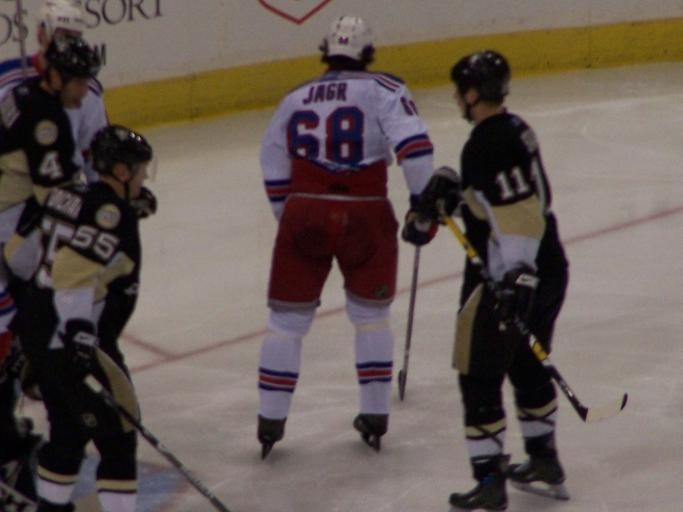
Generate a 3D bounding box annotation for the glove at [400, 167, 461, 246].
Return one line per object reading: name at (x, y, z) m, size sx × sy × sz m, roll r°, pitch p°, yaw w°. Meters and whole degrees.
glove at (0.411, -0.222, 4.985) m, size 0.213 × 0.362 × 0.129 m, roll 32°, pitch 19°, yaw 10°

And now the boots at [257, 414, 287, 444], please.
boots at (-0.331, 0.804, 5.181) m, size 0.124 × 0.104 × 0.119 m, roll 2°, pitch 2°, yaw -3°

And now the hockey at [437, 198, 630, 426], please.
hockey at (0.783, 0.300, 4.744) m, size 0.444 × 1.216 × 0.071 m, roll -33°, pitch 13°, yaw -3°

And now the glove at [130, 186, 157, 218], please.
glove at (-0.852, -0.231, 4.813) m, size 0.098 × 0.129 × 0.049 m, roll 4°, pitch -17°, yaw -7°

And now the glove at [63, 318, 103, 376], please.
glove at (-1.045, 0.365, 4.443) m, size 0.127 × 0.225 × 0.124 m, roll 16°, pitch 34°, yaw 28°

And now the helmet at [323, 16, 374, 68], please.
helmet at (0.041, -1.006, 5.136) m, size 0.184 × 0.249 × 0.131 m, roll 4°, pitch -20°, yaw 4°

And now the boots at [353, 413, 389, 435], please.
boots at (0.130, 0.775, 5.143) m, size 0.115 × 0.086 × 0.090 m, roll -1°, pitch -1°, yaw 1°

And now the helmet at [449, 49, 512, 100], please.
helmet at (0.595, -0.782, 4.731) m, size 0.237 × 0.211 × 0.180 m, roll 11°, pitch 22°, yaw 33°

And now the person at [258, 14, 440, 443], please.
person at (0.010, 0.016, 5.102) m, size 0.835 × 1.717 × 0.428 m, roll -2°, pitch 12°, yaw 4°

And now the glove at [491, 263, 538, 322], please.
glove at (0.728, 0.144, 4.618) m, size 0.153 × 0.253 × 0.076 m, roll 8°, pitch 5°, yaw -4°

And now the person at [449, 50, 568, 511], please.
person at (0.701, 0.114, 4.664) m, size 0.493 × 1.915 × 0.487 m, roll 0°, pitch 13°, yaw 11°
